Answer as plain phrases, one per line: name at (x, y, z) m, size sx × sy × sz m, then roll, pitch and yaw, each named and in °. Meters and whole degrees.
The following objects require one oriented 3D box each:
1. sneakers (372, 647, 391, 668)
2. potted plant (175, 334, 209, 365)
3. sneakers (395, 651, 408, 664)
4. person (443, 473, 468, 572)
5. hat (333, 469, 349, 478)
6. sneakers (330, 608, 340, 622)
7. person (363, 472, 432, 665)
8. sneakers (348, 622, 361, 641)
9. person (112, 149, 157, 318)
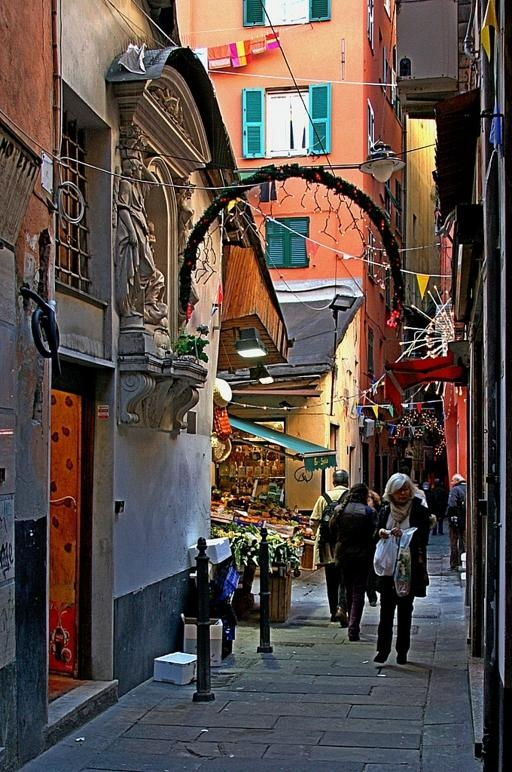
sneakers at (1.088, 2.347, 9.040) m, size 0.105 × 0.139 × 0.213 m, roll 5°, pitch 16°, yaw 19°
potted plant at (-0.582, -0.346, 9.282) m, size 0.188 × 0.245 × 0.699 m, roll 2°, pitch -3°, yaw 14°
sneakers at (1.265, 2.326, 8.983) m, size 0.090 × 0.135 × 0.096 m, roll 11°, pitch -14°, yaw -30°
person at (3.431, 2.330, 17.848) m, size 0.292 × 1.618 × 2.546 m, roll 1°, pitch -3°, yaw 12°
hat at (0.987, 1.023, 12.280) m, size 0.122 × 0.122 × 0.138 m, roll 1°, pitch -4°, yaw 29°
sneakers at (0.898, 2.621, 11.892) m, size 0.051 × 0.153 × 0.185 m, roll -2°, pitch -20°, yaw 10°
person at (1.245, 1.578, 8.911) m, size 0.462 × 1.651 × 0.571 m, roll 2°, pitch -2°, yaw 10°
sneakers at (0.989, 2.451, 10.382) m, size 0.092 × 0.177 × 0.152 m, roll 1°, pitch -6°, yaw 15°
person at (-0.929, -1.153, 8.077) m, size 0.208 × 1.272 × 0.642 m, roll 2°, pitch -2°, yaw 5°
